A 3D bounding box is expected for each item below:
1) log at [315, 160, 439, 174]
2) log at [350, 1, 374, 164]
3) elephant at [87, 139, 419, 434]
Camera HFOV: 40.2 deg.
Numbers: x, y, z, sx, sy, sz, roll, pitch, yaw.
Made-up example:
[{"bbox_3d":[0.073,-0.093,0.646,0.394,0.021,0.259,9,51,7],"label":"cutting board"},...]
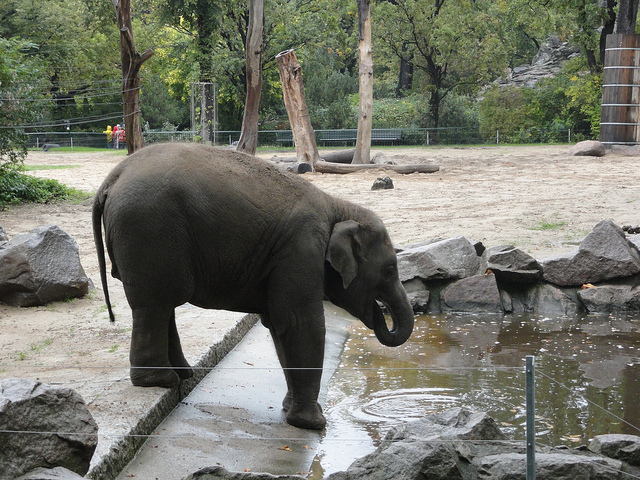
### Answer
[{"bbox_3d":[1.460,-2.035,24.465,3.950,0.424,0.664,0,0,-7],"label":"log"},{"bbox_3d":[1.204,-4.567,25.417,0.618,4.599,1.266,-3,10,2],"label":"log"},{"bbox_3d":[-0.641,0.359,9.177,2.838,3.007,2.955,-5,19,-24],"label":"elephant"}]
